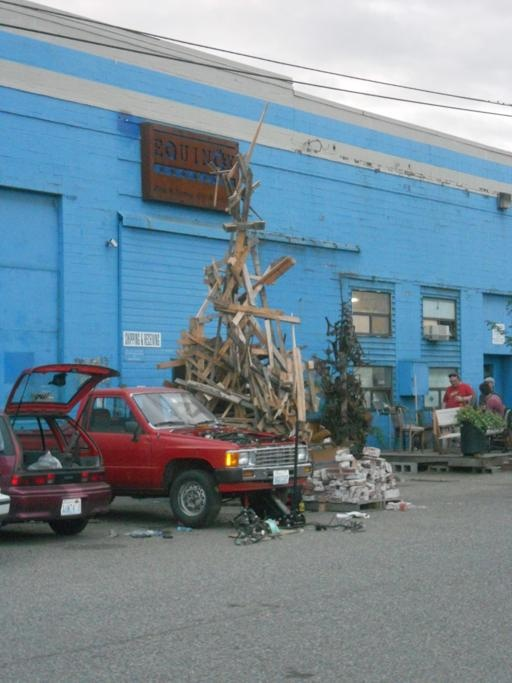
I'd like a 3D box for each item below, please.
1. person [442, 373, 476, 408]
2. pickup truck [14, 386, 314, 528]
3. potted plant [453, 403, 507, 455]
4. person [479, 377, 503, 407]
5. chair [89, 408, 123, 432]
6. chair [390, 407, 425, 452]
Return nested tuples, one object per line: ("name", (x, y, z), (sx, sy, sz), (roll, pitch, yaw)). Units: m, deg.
("person", (5.038, 1.255, 20.383), (0.665, 0.876, 0.966), (-1, -3, 12))
("pickup truck", (-1.165, 1.508, 11.280), (3.728, 1.478, 1.877), (-6, -7, 38))
("potted plant", (5.296, 2.087, 18.931), (0.813, 1.120, 2.789), (-1, -3, 29))
("person", (6.304, 1.361, 21.996), (0.632, 0.975, 1.161), (-1, -3, 25))
("chair", (-2.074, 1.098, 11.316), (0.382, 0.314, 0.341), (4, -4, -26))
("chair", (4.170, 2.360, 21.921), (0.654, 0.916, 0.655), (-10, -2, -7))
